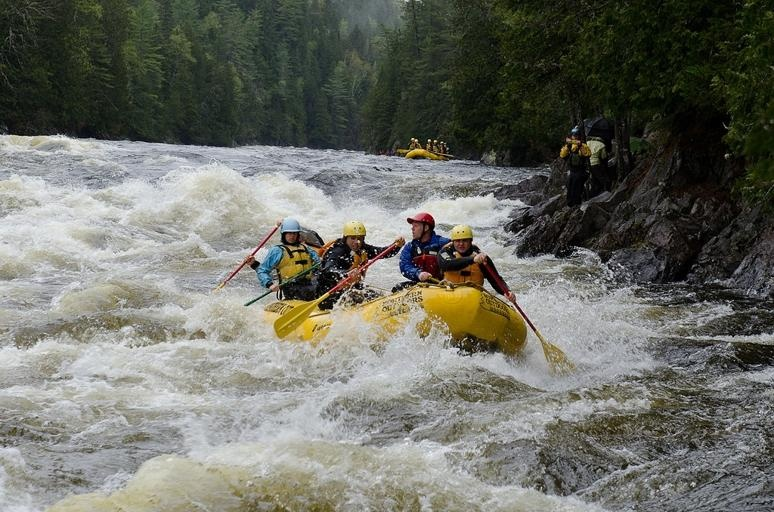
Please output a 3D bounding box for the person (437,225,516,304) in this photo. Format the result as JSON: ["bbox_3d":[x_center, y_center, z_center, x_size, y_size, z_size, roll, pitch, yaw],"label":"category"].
[{"bbox_3d":[1.744,0.196,14.476,1.185,2.392,0.925,-15,23,-30],"label":"person"}]

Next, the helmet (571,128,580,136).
[{"bbox_3d":[4.901,-3.214,19.757,0.202,0.144,0.371,-23,3,13],"label":"helmet"}]

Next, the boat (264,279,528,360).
[{"bbox_3d":[0.430,1.002,12.594,2.731,0.721,1.610,-7,-6,29],"label":"boat"}]

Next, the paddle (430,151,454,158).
[{"bbox_3d":[3.852,-6.806,51.379,0.712,0.238,0.917,2,0,32],"label":"paddle"}]

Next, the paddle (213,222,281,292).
[{"bbox_3d":[-2.984,0.089,16.450,0.150,2.389,0.179,47,24,-2],"label":"paddle"}]

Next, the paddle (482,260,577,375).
[{"bbox_3d":[2.329,0.899,12.412,1.026,1.178,1.966,-6,27,-27],"label":"paddle"}]

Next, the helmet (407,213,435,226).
[{"bbox_3d":[0.619,-0.667,13.856,0.381,0.202,0.271,9,-7,-7],"label":"helmet"}]

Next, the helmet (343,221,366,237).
[{"bbox_3d":[-0.617,-0.498,14.048,0.257,0.274,0.341,0,2,-11],"label":"helmet"}]

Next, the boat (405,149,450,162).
[{"bbox_3d":[2.682,-6.586,50.348,2.871,0.777,2.128,3,24,-8],"label":"boat"}]

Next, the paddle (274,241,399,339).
[{"bbox_3d":[-0.793,0.473,13.980,0.407,0.243,3.545,49,44,4],"label":"paddle"}]

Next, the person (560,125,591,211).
[{"bbox_3d":[4.899,-2.258,19.725,0.831,1.992,0.910,23,29,34],"label":"person"}]
